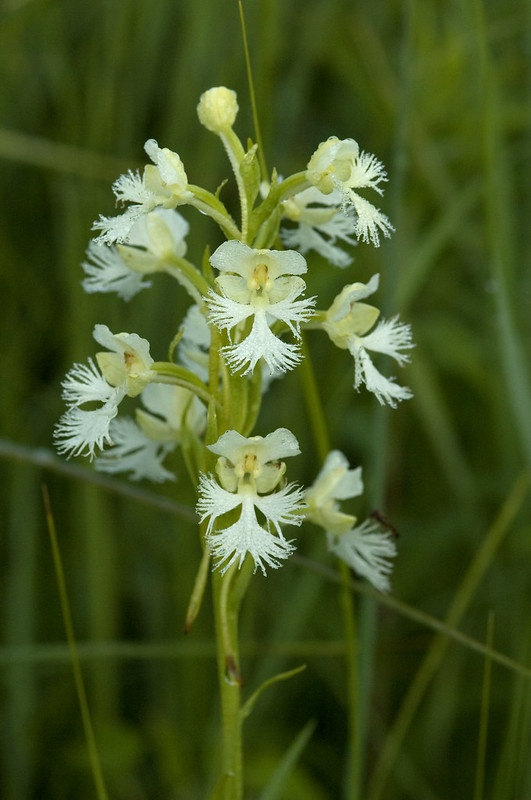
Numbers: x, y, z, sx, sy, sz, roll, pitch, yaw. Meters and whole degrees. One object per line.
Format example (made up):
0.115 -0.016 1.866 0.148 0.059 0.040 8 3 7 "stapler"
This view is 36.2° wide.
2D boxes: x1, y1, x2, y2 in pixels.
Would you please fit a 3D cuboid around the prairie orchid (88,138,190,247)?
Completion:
-0.157 -0.234 1.019 0.057 0.104 0.155 -4 -42 -47 "prairie orchid"

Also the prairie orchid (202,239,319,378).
-0.011 -0.087 0.923 0.115 0.171 0.116 5 -40 -5 "prairie orchid"

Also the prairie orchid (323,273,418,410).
0.133 -0.064 1.037 0.077 0.172 0.118 -26 -47 28 "prairie orchid"

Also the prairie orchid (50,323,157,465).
-0.188 -0.001 0.995 0.104 0.154 0.046 -25 -69 35 "prairie orchid"

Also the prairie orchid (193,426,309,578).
-0.019 0.109 0.937 0.120 0.200 0.070 -1 -68 4 "prairie orchid"

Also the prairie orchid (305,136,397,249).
0.101 -0.272 0.992 0.123 0.042 0.083 -9 -21 -31 "prairie orchid"
